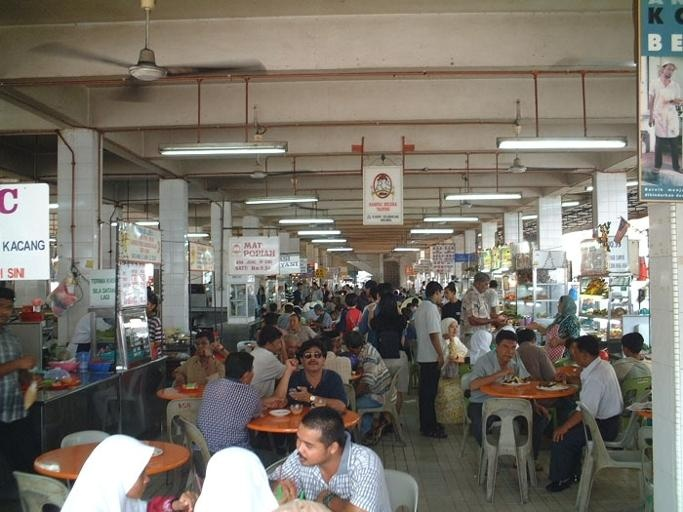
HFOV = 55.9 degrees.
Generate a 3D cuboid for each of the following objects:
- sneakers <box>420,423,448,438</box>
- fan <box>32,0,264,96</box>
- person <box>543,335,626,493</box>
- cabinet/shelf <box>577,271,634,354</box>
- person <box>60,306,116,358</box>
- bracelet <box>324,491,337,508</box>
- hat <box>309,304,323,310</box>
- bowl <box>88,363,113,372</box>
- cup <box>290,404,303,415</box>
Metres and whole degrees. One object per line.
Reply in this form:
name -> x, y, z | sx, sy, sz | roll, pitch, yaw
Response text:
sneakers -> 1.475, 2.797, 10.346 | 0.437, 0.198, 0.171 | -1, -1, 9
fan -> -3.007, -2.870, 9.576 | 2.022, 0.827, 1.918 | -1, 0, 7
person -> 3.237, 2.112, 8.609 | 1.019, 2.027, 0.846 | -1, 4, 22
cabinet/shelf -> 5.241, 1.101, 12.728 | 0.505, 1.480, 1.575 | 1, -2, -3
person -> -3.996, 1.202, 10.275 | 0.517, 0.969, 0.532 | 14, 27, -25
bracelet -> -0.112, 2.212, 5.856 | 0.093, 0.094, 0.103 | 0, 6, -41
hat -> -0.613, 1.341, 16.866 | 0.207, 0.154, 0.204 | -1, -8, 19
bowl -> -3.471, 1.623, 9.341 | 0.213, 0.079, 0.159 | 3, -5, -12
cup -> -0.567, 1.917, 8.070 | 0.098, 0.073, 0.098 | 0, -3, 0
